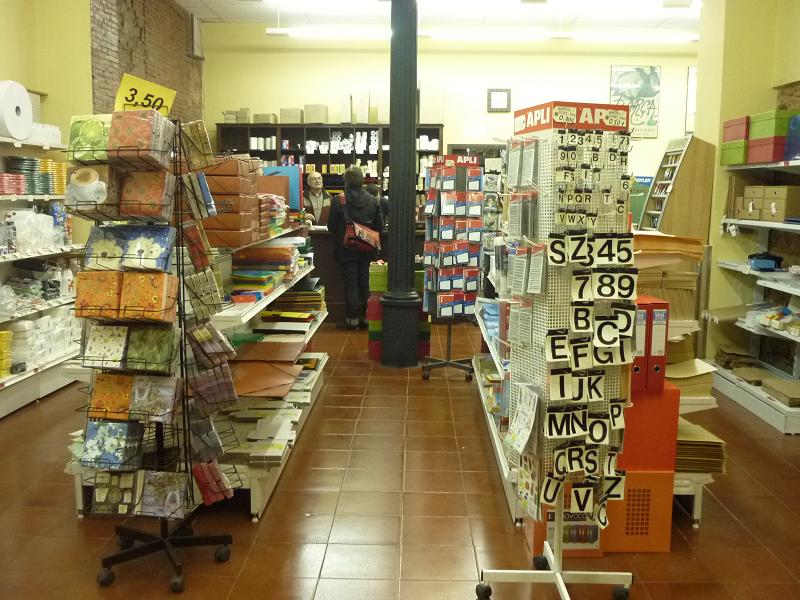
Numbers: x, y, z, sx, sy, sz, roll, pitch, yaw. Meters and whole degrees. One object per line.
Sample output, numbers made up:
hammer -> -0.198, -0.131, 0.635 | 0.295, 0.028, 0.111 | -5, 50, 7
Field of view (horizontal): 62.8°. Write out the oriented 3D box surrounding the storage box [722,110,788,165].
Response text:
storage box -> 3.346, -1.512, 6.112 | 0.412, 0.430, 0.719 | 1, 3, -6

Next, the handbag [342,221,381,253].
handbag -> -0.529, -0.818, 8.487 | 0.459, 0.289, 0.196 | 4, -1, -26

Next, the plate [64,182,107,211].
plate -> -1.597, -0.533, 3.320 | 0.145, 0.085, 0.179 | 0, 20, 2

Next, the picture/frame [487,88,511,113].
picture/frame -> 1.862, -3.781, 12.322 | 0.493, 0.432, 0.046 | 1, 4, 1
